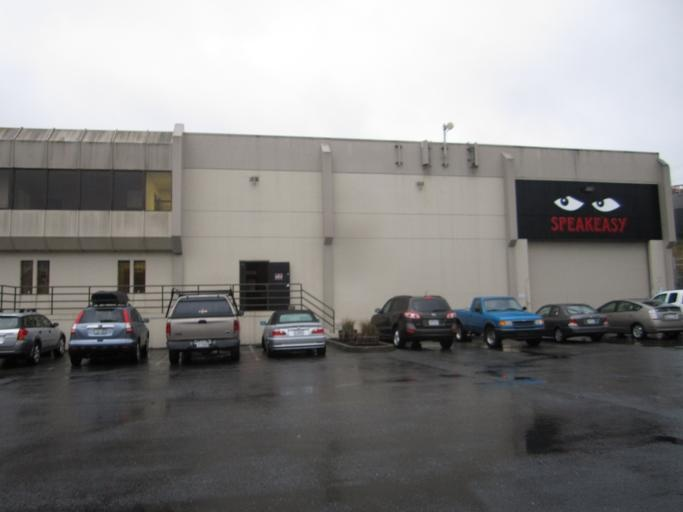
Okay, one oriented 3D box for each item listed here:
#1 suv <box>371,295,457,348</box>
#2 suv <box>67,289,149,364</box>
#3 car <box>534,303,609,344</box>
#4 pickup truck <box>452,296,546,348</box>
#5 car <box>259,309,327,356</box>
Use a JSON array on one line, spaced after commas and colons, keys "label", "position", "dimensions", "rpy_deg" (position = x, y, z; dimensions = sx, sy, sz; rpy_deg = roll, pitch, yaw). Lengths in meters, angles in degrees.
[{"label": "suv", "position": [2.488, 2.353, 22.009], "dimensions": [1.492, 1.864, 3.248], "rpy_deg": [-1, 1, -32]}, {"label": "suv", "position": [-7.130, 2.198, 19.297], "dimensions": [1.690, 1.787, 3.339], "rpy_deg": [-1, -2, -10]}, {"label": "car", "position": [8.632, 2.529, 23.927], "dimensions": [1.195, 1.002, 2.797], "rpy_deg": [-2, -1, -10]}, {"label": "pickup truck", "position": [5.652, 2.400, 22.400], "dimensions": [1.508, 1.404, 3.310], "rpy_deg": [1, -6, -15]}, {"label": "car", "position": [-1.534, 2.548, 19.823], "dimensions": [1.992, 1.550, 1.825], "rpy_deg": [-1, 1, 24]}]
